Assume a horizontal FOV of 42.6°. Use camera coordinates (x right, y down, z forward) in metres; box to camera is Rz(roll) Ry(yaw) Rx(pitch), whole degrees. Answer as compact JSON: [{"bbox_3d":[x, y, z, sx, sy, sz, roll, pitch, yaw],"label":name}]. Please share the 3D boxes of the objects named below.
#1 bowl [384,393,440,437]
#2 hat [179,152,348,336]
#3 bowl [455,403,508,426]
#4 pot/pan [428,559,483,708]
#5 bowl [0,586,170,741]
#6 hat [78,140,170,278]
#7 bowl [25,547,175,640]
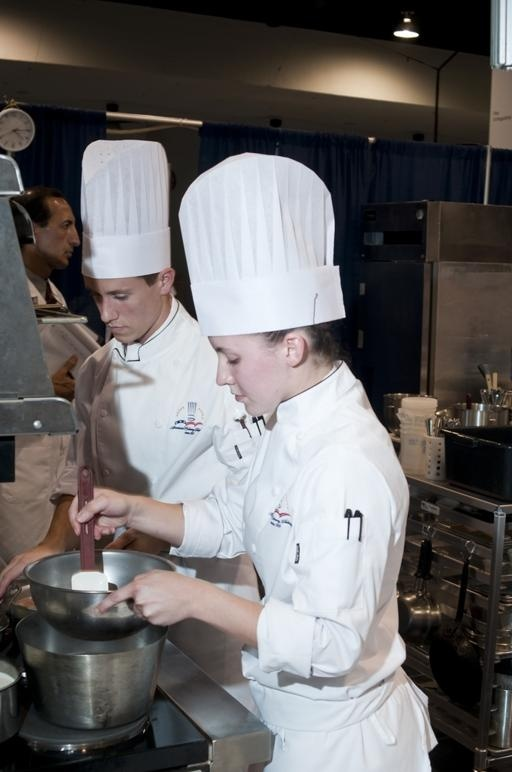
[{"bbox_3d":[0.623,0.114,2.730,0.204,0.146,0.169,0,0,-40],"label":"bowl"},{"bbox_3d":[0.011,-0.209,0.991,0.248,0.265,0.196,-1,10,-6],"label":"hat"},{"bbox_3d":[0.935,0.118,2.715,0.114,0.091,0.132,0,0,7],"label":"bowl"},{"bbox_3d":[0.734,0.851,2.278,0.071,0.454,0.260,5,-7,-22],"label":"pot/pan"},{"bbox_3d":[-0.202,0.301,0.764,0.147,0.088,0.145,0,-6,0],"label":"bowl"},{"bbox_3d":[-0.304,-0.411,1.541,0.204,0.319,0.138,-3,10,-14],"label":"hat"},{"bbox_3d":[-0.183,0.260,0.797,0.100,0.046,0.129,-4,6,-45],"label":"bowl"}]
